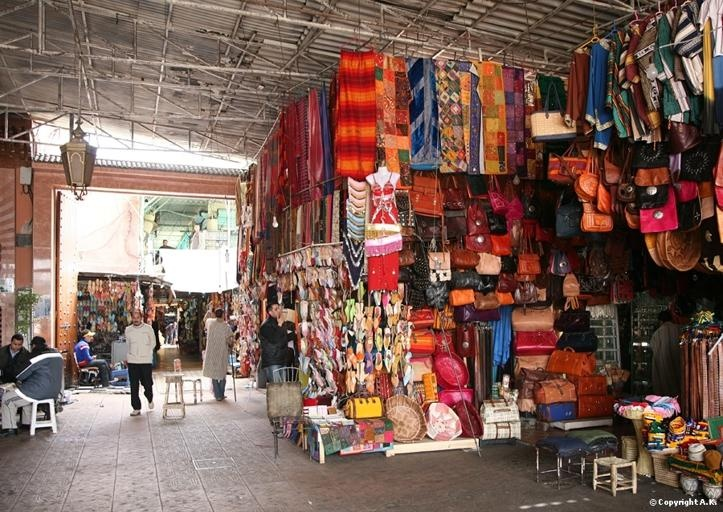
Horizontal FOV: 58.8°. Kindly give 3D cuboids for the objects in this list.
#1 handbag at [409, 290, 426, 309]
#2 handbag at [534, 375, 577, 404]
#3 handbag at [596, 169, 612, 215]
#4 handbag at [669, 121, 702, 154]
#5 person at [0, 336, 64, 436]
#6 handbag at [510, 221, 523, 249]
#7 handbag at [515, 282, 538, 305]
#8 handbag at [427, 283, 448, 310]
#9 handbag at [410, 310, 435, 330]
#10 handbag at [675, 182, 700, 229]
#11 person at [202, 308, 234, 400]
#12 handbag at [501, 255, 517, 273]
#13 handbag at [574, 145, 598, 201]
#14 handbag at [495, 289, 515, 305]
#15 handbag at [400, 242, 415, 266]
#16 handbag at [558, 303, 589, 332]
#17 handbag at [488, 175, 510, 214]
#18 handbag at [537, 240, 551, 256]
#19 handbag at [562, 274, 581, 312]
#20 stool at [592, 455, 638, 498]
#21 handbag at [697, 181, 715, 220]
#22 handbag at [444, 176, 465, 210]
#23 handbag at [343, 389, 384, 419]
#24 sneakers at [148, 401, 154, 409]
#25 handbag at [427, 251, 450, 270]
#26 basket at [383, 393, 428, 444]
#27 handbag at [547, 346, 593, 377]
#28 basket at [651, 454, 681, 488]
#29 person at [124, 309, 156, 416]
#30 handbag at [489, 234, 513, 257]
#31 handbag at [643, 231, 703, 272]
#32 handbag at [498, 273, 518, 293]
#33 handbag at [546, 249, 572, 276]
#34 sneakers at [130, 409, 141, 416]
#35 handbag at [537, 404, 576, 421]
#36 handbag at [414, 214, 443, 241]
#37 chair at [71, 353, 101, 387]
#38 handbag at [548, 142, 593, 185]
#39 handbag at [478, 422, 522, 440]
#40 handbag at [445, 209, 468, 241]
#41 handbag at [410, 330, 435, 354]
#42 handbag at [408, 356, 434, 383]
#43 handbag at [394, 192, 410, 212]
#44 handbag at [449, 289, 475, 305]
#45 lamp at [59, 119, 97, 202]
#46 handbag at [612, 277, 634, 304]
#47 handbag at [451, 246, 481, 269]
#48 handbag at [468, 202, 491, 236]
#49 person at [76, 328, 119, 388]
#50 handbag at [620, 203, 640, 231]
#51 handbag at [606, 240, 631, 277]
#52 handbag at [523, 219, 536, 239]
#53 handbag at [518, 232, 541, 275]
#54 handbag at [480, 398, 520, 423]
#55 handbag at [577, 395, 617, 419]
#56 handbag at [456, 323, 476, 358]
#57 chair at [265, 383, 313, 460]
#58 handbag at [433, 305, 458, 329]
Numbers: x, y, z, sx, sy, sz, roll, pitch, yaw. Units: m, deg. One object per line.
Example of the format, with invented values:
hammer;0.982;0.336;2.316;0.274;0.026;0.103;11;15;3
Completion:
handbag;0.795;0.622;9.246;0.234;0.274;0.089;6;-4;-21
handbag;2.977;2.082;9.853;0.556;0.437;0.349;1;-2;-15
handbag;3.125;-0.776;8.251;0.129;0.407;0.292;-2;19;24
handbag;3.719;-1.389;7.366;0.279;0.408;0.161;-3;9;12
person;-5.028;1.947;9.813;0.827;1.346;0.648;0;0;-31
handbag;2.366;-0.329;9.809;0.235;0.347;0.089;0;0;-31
handbag;2.548;0.574;9.967;0.290;0.328;0.115;0;5;-4
handbag;1.089;0.571;9.286;0.328;0.360;0.103;8;0;-30
handbag;0.883;0.901;9.245;0.323;0.269;0.311;4;-43;-2
handbag;3.876;-0.603;7.606;0.161;0.515;0.309;0;0;-25
person;-2.777;1.893;12.446;0.572;1.788;0.844;0;0;-15
handbag;2.259;0.127;9.835;0.284;0.210;0.057;0;0;-28
handbag;2.958;-1.054;8.425;0.299;0.621;0.316;-1;0;21
handbag;2.174;0.615;9.816;0.209;0.248;0.089;-3;-1;-27
handbag;0.667;-0.026;9.194;0.190;0.253;0.362;-1;0;13
handbag;3.408;1.004;10.339;0.394;0.433;0.158;2;2;6
handbag;2.040;-0.919;9.655;0.297;0.465;0.322;0;0;2
handbag;2.897;-0.131;10.201;0.146;0.318;0.138;3;-17;-12
handbag;3.368;0.566;10.312;0.295;0.512;0.224;0;0;4
stool;2.915;2.560;7.410;0.420;0.461;0.449;-1;0;21
handbag;4.045;-0.649;7.517;0.138;0.476;0.160;1;14;29
handbag;1.353;-0.926;9.452;0.413;0.673;0.113;6;-32;-12
handbag;0.043;1.904;8.618;0.438;0.358;0.259;1;8;-15
sneakers;-3.627;2.582;11.049;0.061;0.191;0.092;6;10;38
handbag;1.117;0.072;9.234;0.228;0.279;0.082;-3;4;-10
basket;0.605;2.220;8.782;0.480;0.633;0.147;-7;-8;-17
handbag;3.328;1.706;10.177;0.348;0.495;0.680;21;-17;-31
basket;3.536;2.518;7.531;0.251;0.389;0.355;0;-2;1
person;-3.822;1.831;11.108;0.485;1.790;0.668;0;0;-20
handbag;2.105;-0.174;9.671;0.290;0.337;0.112;2;-9;-23
handbag;3.926;-0.081;8.039;0.820;0.500;0.319;0;0;-29
handbag;2.220;0.410;9.810;0.260;0.297;0.108;1;1;-17
handbag;3.109;0.091;9.984;0.338;0.398;0.143;4;1;5
sneakers;-3.840;2.672;10.896;0.177;0.087;0.076;3;-7;-15
handbag;3.035;2.395;9.901;0.582;0.251;0.204;0;0;-10
handbag;0.965;-0.426;9.214;0.426;0.268;0.071;0;0;-17
chair;-6.392;2.693;14.999;0.614;0.987;0.693;0;-5;-8
handbag;2.846;-1.247;8.694;0.645;0.733;0.363;1;-15;-1
handbag;1.962;2.433;8.926;0.601;0.233;0.295;4;-11;-9
handbag;1.369;-0.477;9.367;0.385;0.400;0.224;0;-3;-20
handbag;0.877;1.240;9.195;0.353;0.314;0.270;2;-6;-10
handbag;0.880;1.639;9.248;0.356;0.259;0.104;0;0;-26
handbag;0.592;-0.778;9.064;0.259;0.218;0.064;0;0;-36
handbag;1.505;0.610;9.523;0.449;0.189;0.157;0;0;-31
lamp;-4.403;-1.497;9.965;0.487;1.320;1.373;0;0;-24
handbag;4.220;0.540;10.368;0.331;0.384;0.121;0;0;-10
handbag;1.499;0.032;9.452;0.492;0.246;0.178;0;0;-30
handbag;1.705;-0.545;9.492;0.270;0.466;0.128;-1;-8;-13
person;-6.421;2.364;15.376;0.760;1.207;2.128;0;0;-23
handbag;3.364;-0.510;8.017;0.195;0.296;0.315;-1;0;22
handbag;3.933;0.029;9.815;0.137;0.504;0.464;6;10;39
handbag;2.590;-0.429;9.953;0.197;0.299;0.097;1;8;-23
handbag;2.611;-0.020;9.978;0.240;0.569;0.518;-1;0;36
handbag;1.937;2.191;8.992;0.440;0.290;0.269;1;2;-15
handbag;3.669;2.352;10.070;0.688;0.327;0.083;0;0;-22
handbag;1.537;1.265;9.557;0.232;0.375;0.319;0;0;-21
chair;-1.028;2.161;8.779;0.485;0.968;1.201;0;0;-6
handbag;1.239;0.914;9.616;0.394;0.466;0.284;-1;-3;-31
